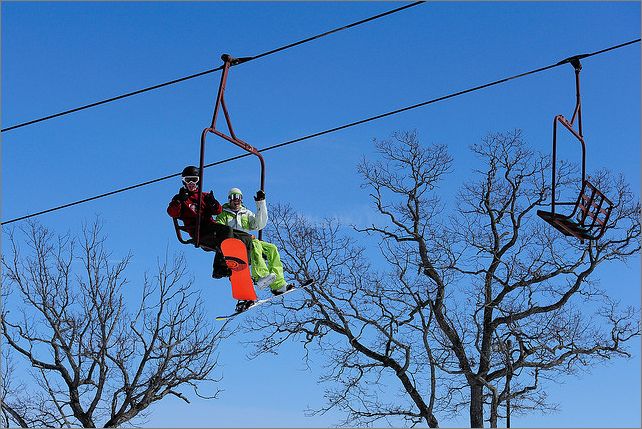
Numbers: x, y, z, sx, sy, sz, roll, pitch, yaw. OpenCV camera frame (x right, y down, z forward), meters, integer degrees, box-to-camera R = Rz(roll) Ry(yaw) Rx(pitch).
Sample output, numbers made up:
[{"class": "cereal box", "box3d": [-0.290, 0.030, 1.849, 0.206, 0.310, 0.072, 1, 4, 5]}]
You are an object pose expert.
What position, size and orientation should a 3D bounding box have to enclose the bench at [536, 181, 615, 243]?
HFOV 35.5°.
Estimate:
[{"class": "bench", "box3d": [7.399, -0.202, 29.623, 1.377, 1.710, 1.241, 2, -79, -21]}]
